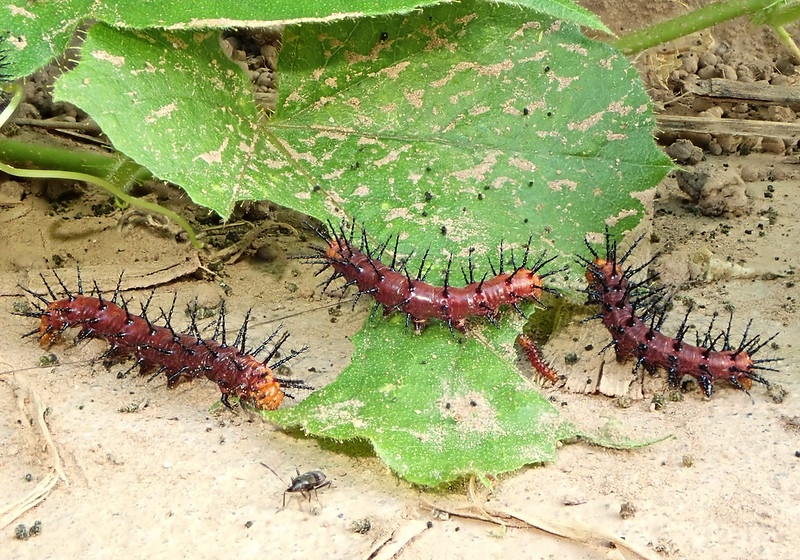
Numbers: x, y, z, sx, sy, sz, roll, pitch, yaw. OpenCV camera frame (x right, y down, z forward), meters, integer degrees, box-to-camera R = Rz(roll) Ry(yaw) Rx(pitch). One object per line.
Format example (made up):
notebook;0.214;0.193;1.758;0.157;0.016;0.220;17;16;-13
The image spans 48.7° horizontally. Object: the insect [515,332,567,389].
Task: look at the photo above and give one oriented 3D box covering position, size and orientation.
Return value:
insect;0.703;0.415;4.584;0.129;0.138;0.421;27;20;-23
